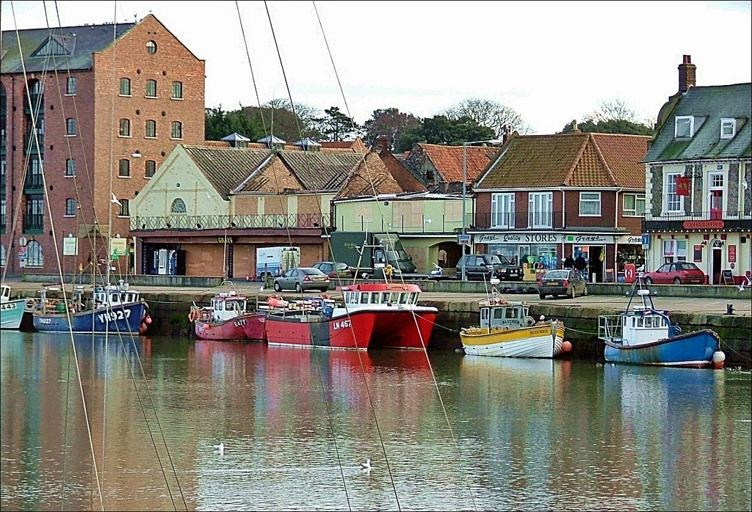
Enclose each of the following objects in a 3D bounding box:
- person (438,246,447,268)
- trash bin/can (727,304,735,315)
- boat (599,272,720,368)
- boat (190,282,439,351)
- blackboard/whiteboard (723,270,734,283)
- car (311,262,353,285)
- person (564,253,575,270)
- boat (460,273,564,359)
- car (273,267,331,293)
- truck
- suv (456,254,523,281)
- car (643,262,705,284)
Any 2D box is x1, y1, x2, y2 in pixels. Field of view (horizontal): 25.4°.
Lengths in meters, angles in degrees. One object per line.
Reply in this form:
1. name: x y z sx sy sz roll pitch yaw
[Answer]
1. person: 4.221 0.061 106.859 0.667 1.216 0.281 1 -4 -34
2. trash bin/can: 17.019 2.518 79.205 0.341 0.623 0.623 0 -5 -4
3. boat: 13.720 3.750 80.619 2.572 4.600 7.215 -1 3 -37
4. boat: -3.461 3.412 89.556 4.500 3.480 16.662 3 -5 -45
5. blackboard/whiteboard: 20.092 1.142 94.704 0.775 0.807 0.630 -3 -4 28
6. car: -2.324 1.000 100.514 2.321 1.056 1.157 6 8 40
7. person: 11.381 0.224 98.016 0.805 1.218 0.643 1 -1 -5
8. boat: 6.928 3.614 83.943 6.075 3.724 2.599 -3 -2 43
9. car: -4.639 1.347 97.546 1.342 1.021 2.879 -2 3 -40
10. truck: -0.543 -0.240 103.250 5.757 2.915 2.225 0 1 41
11. suv: 6.616 0.653 97.989 2.896 1.295 1.719 -1 0 33
12. car: 16.857 1.005 93.366 2.372 1.070 1.555 3 3 32
